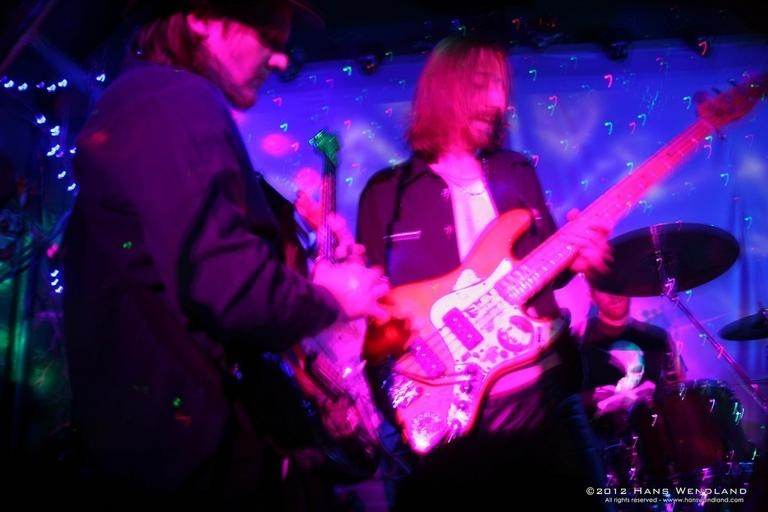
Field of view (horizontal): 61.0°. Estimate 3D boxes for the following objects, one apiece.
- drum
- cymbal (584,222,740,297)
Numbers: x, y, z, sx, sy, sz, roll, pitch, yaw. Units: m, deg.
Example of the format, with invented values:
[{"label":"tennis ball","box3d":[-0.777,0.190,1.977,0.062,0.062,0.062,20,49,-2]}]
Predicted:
[{"label":"drum","box3d":[2.031,1.121,4.329,0.548,0.446,0.631,-14,-18,17]},{"label":"cymbal","box3d":[1.804,0.022,4.202,0.654,0.158,0.637,34,-42,-32]}]
